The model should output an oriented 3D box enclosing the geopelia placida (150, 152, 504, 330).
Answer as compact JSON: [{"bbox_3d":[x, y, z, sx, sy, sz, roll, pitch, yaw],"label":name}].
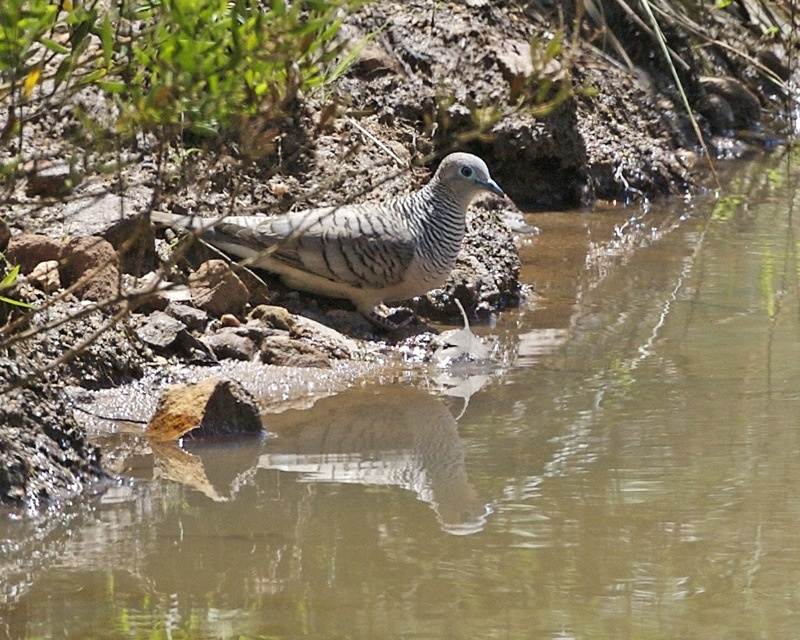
[{"bbox_3d":[-0.422,-0.557,6.887,2.065,0.914,0.639,9,23,21],"label":"geopelia placida"}]
